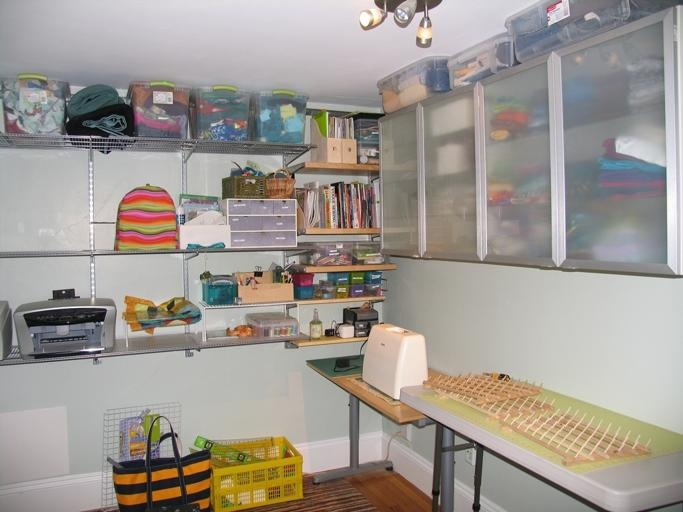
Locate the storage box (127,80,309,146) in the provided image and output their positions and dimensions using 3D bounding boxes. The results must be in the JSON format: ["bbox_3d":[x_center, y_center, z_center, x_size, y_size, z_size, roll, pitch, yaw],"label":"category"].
[{"bbox_3d":[-0.863,-1.025,3.735,1.228,0.407,0.250,-1,10,-21],"label":"storage box"}]

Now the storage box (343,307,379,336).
[{"bbox_3d":[0.150,0.532,4.291,0.239,0.242,0.244,1,-3,-19],"label":"storage box"}]

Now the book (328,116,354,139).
[{"bbox_3d":[-0.009,-1.022,4.110,0.193,0.087,0.257,1,5,-2],"label":"book"}]

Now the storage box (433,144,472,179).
[{"bbox_3d":[0.701,-0.607,3.251,0.047,0.176,0.191,-3,6,-42],"label":"storage box"}]

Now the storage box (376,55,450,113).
[{"bbox_3d":[0.495,-1.175,3.526,0.242,0.115,0.354,-4,-9,-34],"label":"storage box"}]

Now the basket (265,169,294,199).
[{"bbox_3d":[-0.481,-0.563,4.014,0.232,0.197,0.191,-1,2,-8],"label":"basket"}]

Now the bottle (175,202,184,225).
[{"bbox_3d":[-1.193,-0.315,3.778,0.053,0.152,0.112,-1,-2,0],"label":"bottle"}]

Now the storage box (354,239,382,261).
[{"bbox_3d":[0.221,-0.057,4.235,0.185,0.114,0.180,-1,5,-13],"label":"storage box"}]

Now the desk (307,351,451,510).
[{"bbox_3d":[0.263,1.322,3.861,0.657,0.853,1.294,1,0,-23],"label":"desk"}]

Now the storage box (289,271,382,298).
[{"bbox_3d":[-0.016,0.241,4.209,0.555,0.239,0.179,1,-3,-14],"label":"storage box"}]

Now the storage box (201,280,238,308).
[{"bbox_3d":[-0.923,0.276,3.911,0.207,0.132,0.212,0,2,-21],"label":"storage box"}]

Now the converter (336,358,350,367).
[{"bbox_3d":[0.007,0.829,4.005,0.065,0.045,0.065,1,-1,23],"label":"converter"}]

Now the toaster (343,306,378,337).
[{"bbox_3d":[0.153,0.551,4.371,0.245,0.251,0.248,1,-4,-18],"label":"toaster"}]

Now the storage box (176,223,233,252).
[{"bbox_3d":[-0.979,-0.141,3.714,0.361,0.170,0.097,0,10,-17],"label":"storage box"}]
